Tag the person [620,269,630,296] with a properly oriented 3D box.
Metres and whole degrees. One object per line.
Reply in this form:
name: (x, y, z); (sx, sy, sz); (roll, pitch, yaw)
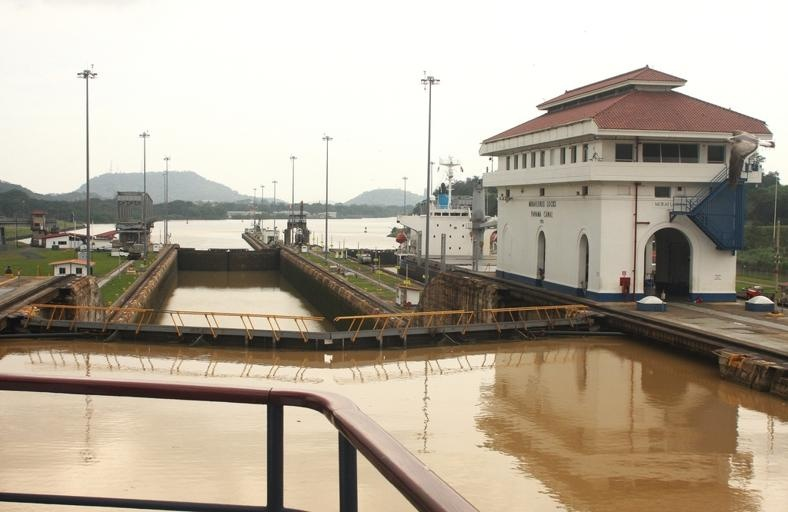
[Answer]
person: (9.556, 1.155, 31.999); (0.586, 1.123, 0.229); (-5, 12, -22)
